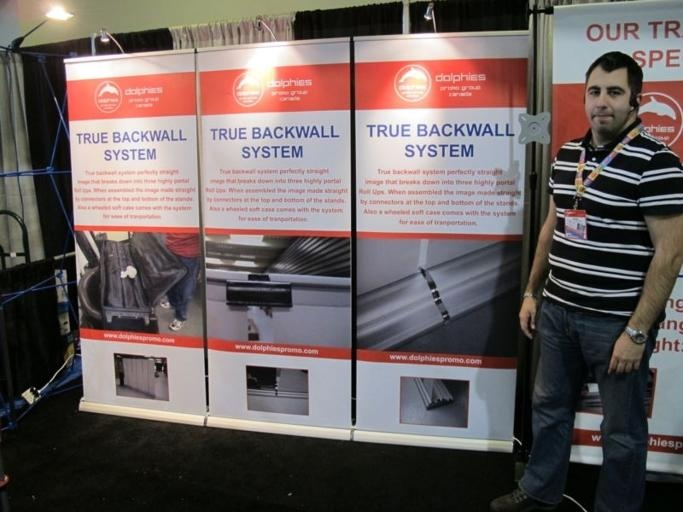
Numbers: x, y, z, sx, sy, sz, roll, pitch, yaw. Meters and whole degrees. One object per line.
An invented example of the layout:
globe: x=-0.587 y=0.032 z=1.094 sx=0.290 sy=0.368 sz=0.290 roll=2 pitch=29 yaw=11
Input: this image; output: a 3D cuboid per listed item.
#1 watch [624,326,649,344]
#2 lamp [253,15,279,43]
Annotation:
watch: x=1.324 y=0.345 z=2.571 sx=0.074 sy=0.048 sz=0.077 roll=6 pitch=26 yaw=-39
lamp: x=-0.553 y=-1.687 z=4.228 sx=0.157 sy=0.216 sz=0.525 roll=-3 pitch=12 yaw=-7
